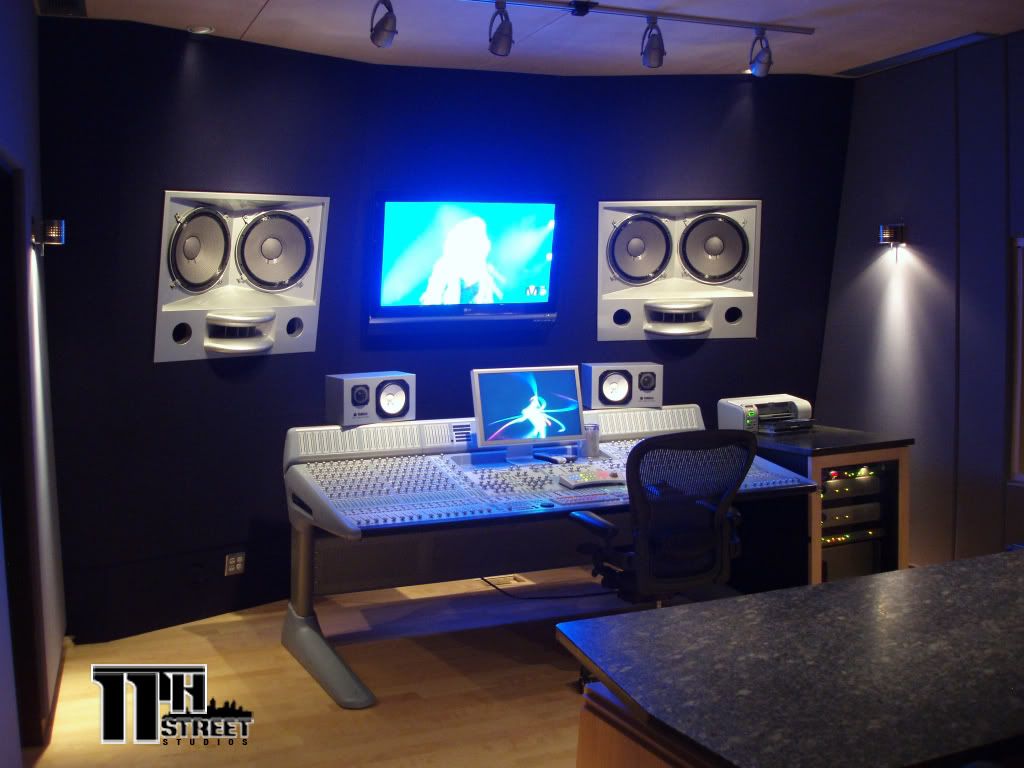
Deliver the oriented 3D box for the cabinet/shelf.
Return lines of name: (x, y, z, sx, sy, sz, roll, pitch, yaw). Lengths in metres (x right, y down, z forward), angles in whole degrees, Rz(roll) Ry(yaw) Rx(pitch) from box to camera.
cabinet/shelf: (1.742, 0.579, 4.398, 0.748, 1.124, 0.741, -3, 3, -41)

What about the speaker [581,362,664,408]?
speaker: (0.584, -0.071, 4.241, 0.401, 0.223, 0.229, -1, 4, -6)

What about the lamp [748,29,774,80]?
lamp: (1.211, -1.601, 3.883, 0.119, 0.234, 0.163, -4, 3, 15)

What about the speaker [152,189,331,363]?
speaker: (-1.349, -0.544, 3.853, 0.788, 0.818, 0.326, -1, 9, -34)
